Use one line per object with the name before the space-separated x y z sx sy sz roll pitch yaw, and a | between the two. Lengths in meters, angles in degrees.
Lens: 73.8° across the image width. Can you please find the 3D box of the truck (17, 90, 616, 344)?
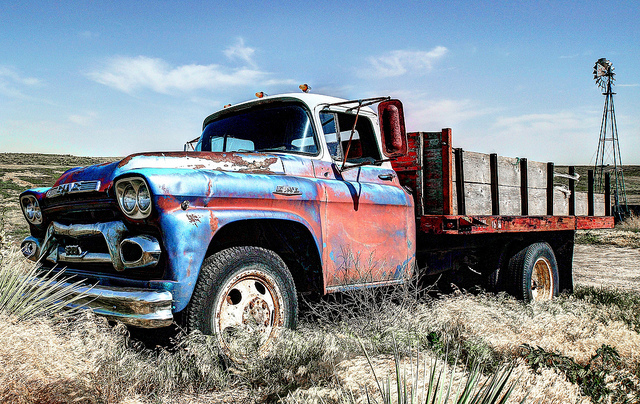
truck | 0.645 0.361 6.190 7.183 2.584 3.763 3 -6 -41
